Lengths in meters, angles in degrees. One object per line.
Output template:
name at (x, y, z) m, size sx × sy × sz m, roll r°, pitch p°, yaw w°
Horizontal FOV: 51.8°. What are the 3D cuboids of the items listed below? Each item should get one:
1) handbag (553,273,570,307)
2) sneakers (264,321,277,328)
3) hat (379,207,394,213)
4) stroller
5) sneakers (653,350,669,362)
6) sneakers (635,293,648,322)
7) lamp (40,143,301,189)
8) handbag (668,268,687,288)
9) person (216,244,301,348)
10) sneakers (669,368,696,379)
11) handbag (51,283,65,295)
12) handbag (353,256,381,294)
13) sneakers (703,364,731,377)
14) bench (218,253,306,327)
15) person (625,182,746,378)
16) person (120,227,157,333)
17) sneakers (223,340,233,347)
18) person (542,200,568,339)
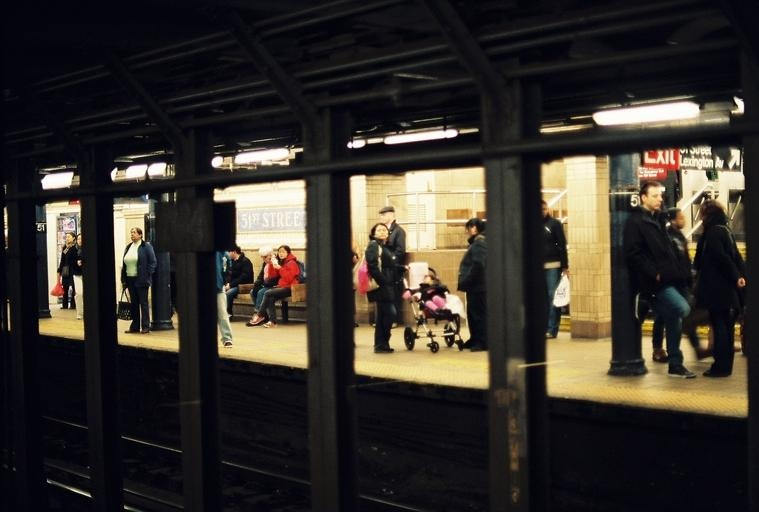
handbag at (2.386, 0.444, 10.202) m, size 0.179 × 0.405 × 0.269 m, roll 4°, pitch -9°, yaw 6°
sneakers at (-1.955, 1.228, 13.939) m, size 0.120 × 0.070 × 0.161 m, roll 17°, pitch -14°, yaw -35°
hat at (0.134, -0.650, 10.960) m, size 0.163 × 0.055 × 0.145 m, roll -4°, pitch 6°, yaw -33°
stroller at (0.772, 0.672, 11.200) m, size 0.709 × 1.340 × 1.094 m, roll -1°, pitch -4°, yaw -27°
sneakers at (3.343, 1.194, 9.281) m, size 0.098 × 0.121 × 0.182 m, roll -7°, pitch -1°, yaw -45°
sneakers at (2.846, 0.557, 8.450) m, size 0.069 × 0.277 × 0.195 m, roll 11°, pitch 11°, yaw 31°
lamp at (-1.603, -0.710, 6.055) m, size 1.925 × 0.144 × 0.199 m, roll -9°, pitch -5°, yaw 29°
handbag at (3.168, 0.229, 8.213) m, size 0.244 × 0.187 × 0.339 m, roll -1°, pitch -4°, yaw 19°
person at (-2.035, 0.729, 13.275) m, size 1.539 × 0.995 × 0.506 m, roll -2°, pitch -3°, yaw 42°
sneakers at (3.280, 1.269, 8.440) m, size 0.275 × 0.122 × 0.105 m, roll -1°, pitch 0°, yaw 26°
handbag at (-7.624, 0.790, 18.515) m, size 0.163 × 0.373 × 0.378 m, roll 8°, pitch 3°, yaw -33°
handbag at (-0.194, 0.271, 10.870) m, size 0.222 × 0.472 × 0.551 m, roll 10°, pitch -10°, yaw -26°
sneakers at (3.637, 1.238, 8.388) m, size 0.202 × 0.130 × 0.120 m, roll -9°, pitch -6°, yaw 38°
bench at (-1.894, 0.490, 13.803) m, size 0.818 × 1.573 × 0.933 m, roll -12°, pitch -12°, yaw 41°
person at (2.979, 0.248, 8.332) m, size 0.953 × 2.005 × 0.470 m, roll 13°, pitch -12°, yaw -40°
person at (-4.276, 0.447, 13.834) m, size 0.614 × 1.782 × 0.908 m, roll 8°, pitch -10°, yaw -18°
sneakers at (-2.375, 1.376, 12.216) m, size 0.093 × 0.122 × 0.284 m, roll -1°, pitch -4°, yaw -2°
person at (2.337, 0.104, 10.403) m, size 0.338 × 1.775 × 1.232 m, roll 3°, pitch -10°, yaw 12°
